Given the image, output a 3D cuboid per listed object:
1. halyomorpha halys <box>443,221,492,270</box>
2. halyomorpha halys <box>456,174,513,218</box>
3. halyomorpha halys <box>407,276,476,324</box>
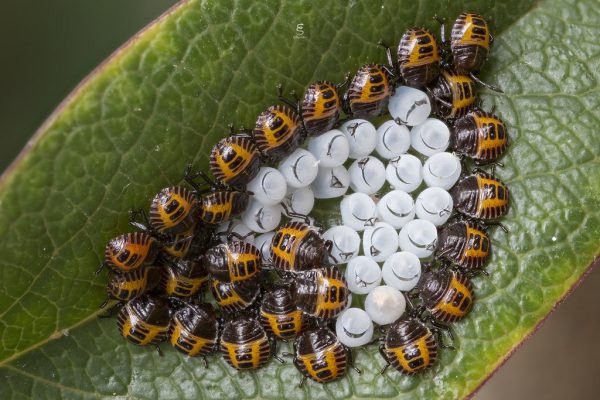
[{"bbox_3d":[0.916,0.247,3.479,0.267,0.114,0.242,23,84,5],"label":"halyomorpha halys"},{"bbox_3d":[1.012,-0.017,3.507,0.284,0.164,0.249,2,82,3],"label":"halyomorpha halys"},{"bbox_3d":[0.817,0.536,3.449,0.291,0.121,0.295,-10,82,1],"label":"halyomorpha halys"}]
